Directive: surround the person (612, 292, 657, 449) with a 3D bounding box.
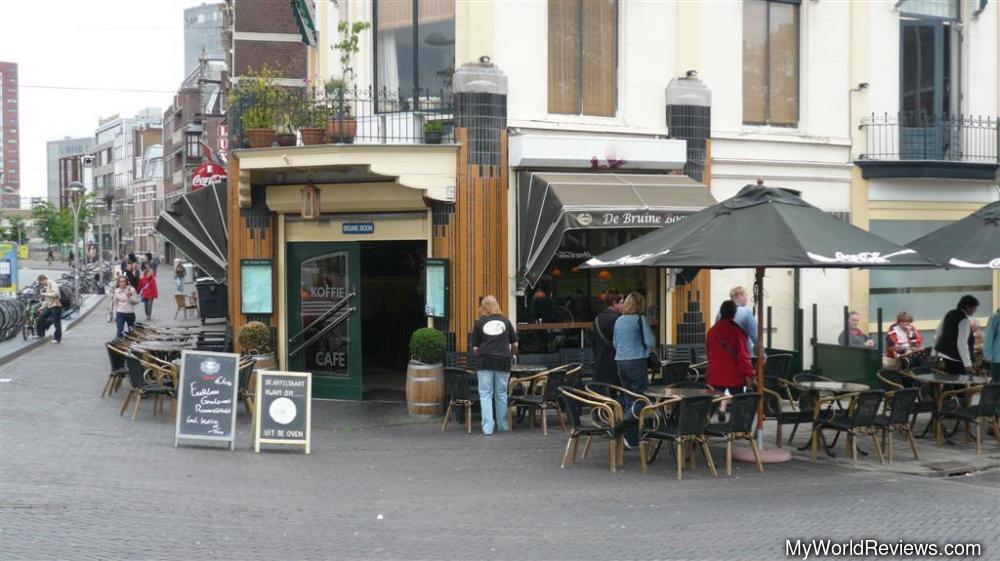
[{"bbox_3d":[3.058,2.095,32.576,1.001,3.227,1.295,0,0,27],"label":"person"}]

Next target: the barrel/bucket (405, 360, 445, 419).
[{"bbox_3d":[-1.860,2.800,35.487,1.007,1.380,1.063,3,6,0],"label":"barrel/bucket"}]

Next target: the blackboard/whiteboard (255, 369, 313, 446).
[{"bbox_3d":[-5.142,2.978,33.091,1.769,2.416,1.575,1,10,-7],"label":"blackboard/whiteboard"}]

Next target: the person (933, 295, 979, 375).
[{"bbox_3d":[11.491,1.440,34.669,0.966,2.102,0.885,1,0,-4],"label":"person"}]

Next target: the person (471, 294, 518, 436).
[{"bbox_3d":[-0.236,2.015,34.388,1.111,3.043,1.413,0,0,-11],"label":"person"}]

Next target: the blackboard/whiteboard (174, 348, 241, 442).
[{"bbox_3d":[-6.867,2.824,32.589,1.378,2.271,0.378,0,2,4],"label":"blackboard/whiteboard"}]

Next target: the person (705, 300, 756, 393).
[{"bbox_3d":[5.364,1.513,32.393,0.999,2.220,0.910,0,0,-10],"label":"person"}]

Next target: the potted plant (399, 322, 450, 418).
[{"bbox_3d":[-1.797,2.323,35.532,1.147,2.359,1.136,-1,-4,20],"label":"potted plant"}]

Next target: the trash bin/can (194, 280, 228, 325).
[{"bbox_3d":[-9.724,0.763,47.012,1.513,1.553,1.156,-1,1,-36],"label":"trash bin/can"}]
